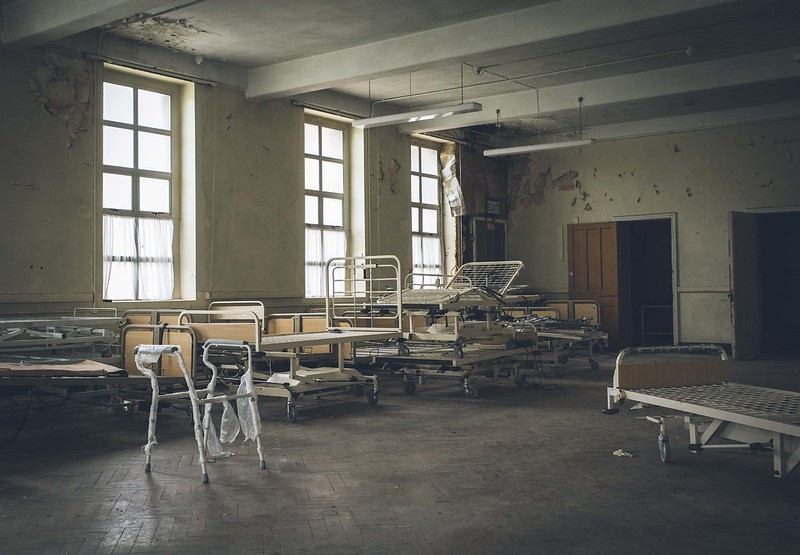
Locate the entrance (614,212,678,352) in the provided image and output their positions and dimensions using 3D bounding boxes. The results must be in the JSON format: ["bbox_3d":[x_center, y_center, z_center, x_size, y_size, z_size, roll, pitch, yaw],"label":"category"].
[{"bbox_3d":[5.283,0.118,13.637,1.127,2.887,1.764,-2,0,23],"label":"entrance"}]

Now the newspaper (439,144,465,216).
[{"bbox_3d":[1.158,-1.992,13.849,0.160,1.259,0.516,-17,12,-39],"label":"newspaper"}]

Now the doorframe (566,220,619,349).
[{"bbox_3d":[4.106,0.244,13.523,0.176,2.937,1.182,-12,12,-43],"label":"doorframe"}]

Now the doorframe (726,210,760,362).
[{"bbox_3d":[6.358,0.126,11.829,0.253,2.751,1.069,-2,0,44],"label":"doorframe"}]
